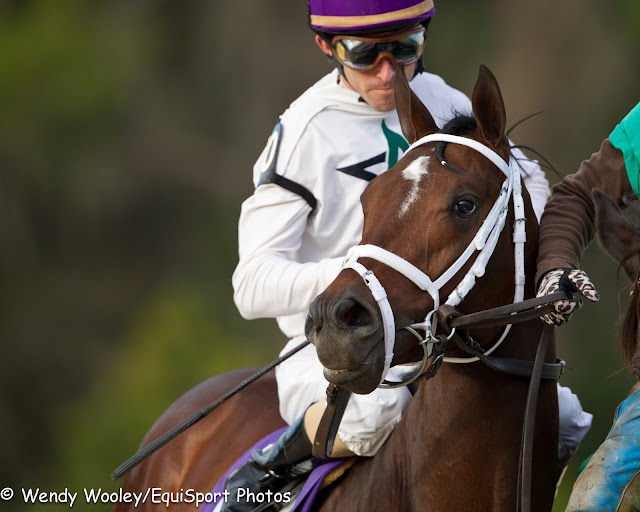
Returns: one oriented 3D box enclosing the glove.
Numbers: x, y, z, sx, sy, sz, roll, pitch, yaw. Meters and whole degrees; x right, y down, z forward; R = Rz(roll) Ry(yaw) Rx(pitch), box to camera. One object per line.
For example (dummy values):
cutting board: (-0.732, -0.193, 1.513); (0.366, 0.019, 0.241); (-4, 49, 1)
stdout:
glove: (0.864, 0.155, 4.085); (0.203, 0.101, 0.163); (-30, 48, -1)
